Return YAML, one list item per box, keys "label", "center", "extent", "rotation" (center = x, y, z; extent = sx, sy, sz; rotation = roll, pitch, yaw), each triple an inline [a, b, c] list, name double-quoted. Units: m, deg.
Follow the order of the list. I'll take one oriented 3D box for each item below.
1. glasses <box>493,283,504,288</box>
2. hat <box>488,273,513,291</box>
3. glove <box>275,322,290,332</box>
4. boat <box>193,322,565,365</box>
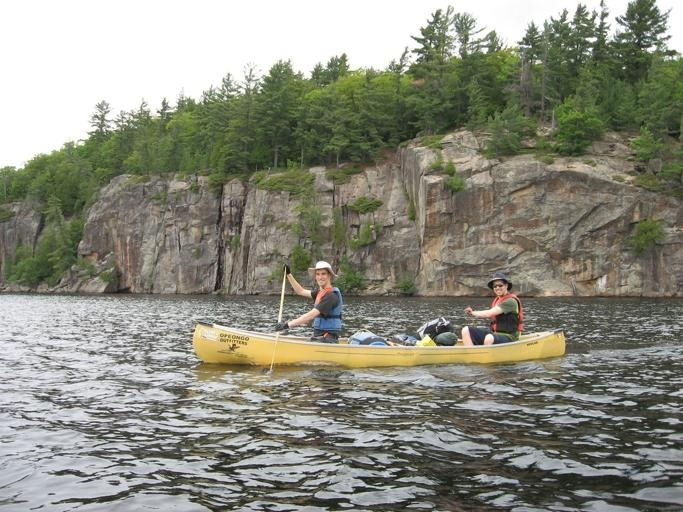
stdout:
- label: "glasses"
  center: [6.764, 1.312, 36.940]
  extent: [0.491, 0.172, 0.230]
  rotation: [-4, -8, 33]
- label: "hat"
  center: [8.166, 1.323, 43.483]
  extent: [1.496, 0.627, 1.301]
  rotation: [6, -31, 9]
- label: "glove"
  center: [-2.513, 3.063, 36.343]
  extent: [0.428, 0.193, 0.480]
  rotation: [-2, 18, -15]
- label: "boat"
  center: [1.128, 3.918, 36.974]
  extent: [14.944, 1.839, 1.541]
  rotation: [1, -7, 2]
